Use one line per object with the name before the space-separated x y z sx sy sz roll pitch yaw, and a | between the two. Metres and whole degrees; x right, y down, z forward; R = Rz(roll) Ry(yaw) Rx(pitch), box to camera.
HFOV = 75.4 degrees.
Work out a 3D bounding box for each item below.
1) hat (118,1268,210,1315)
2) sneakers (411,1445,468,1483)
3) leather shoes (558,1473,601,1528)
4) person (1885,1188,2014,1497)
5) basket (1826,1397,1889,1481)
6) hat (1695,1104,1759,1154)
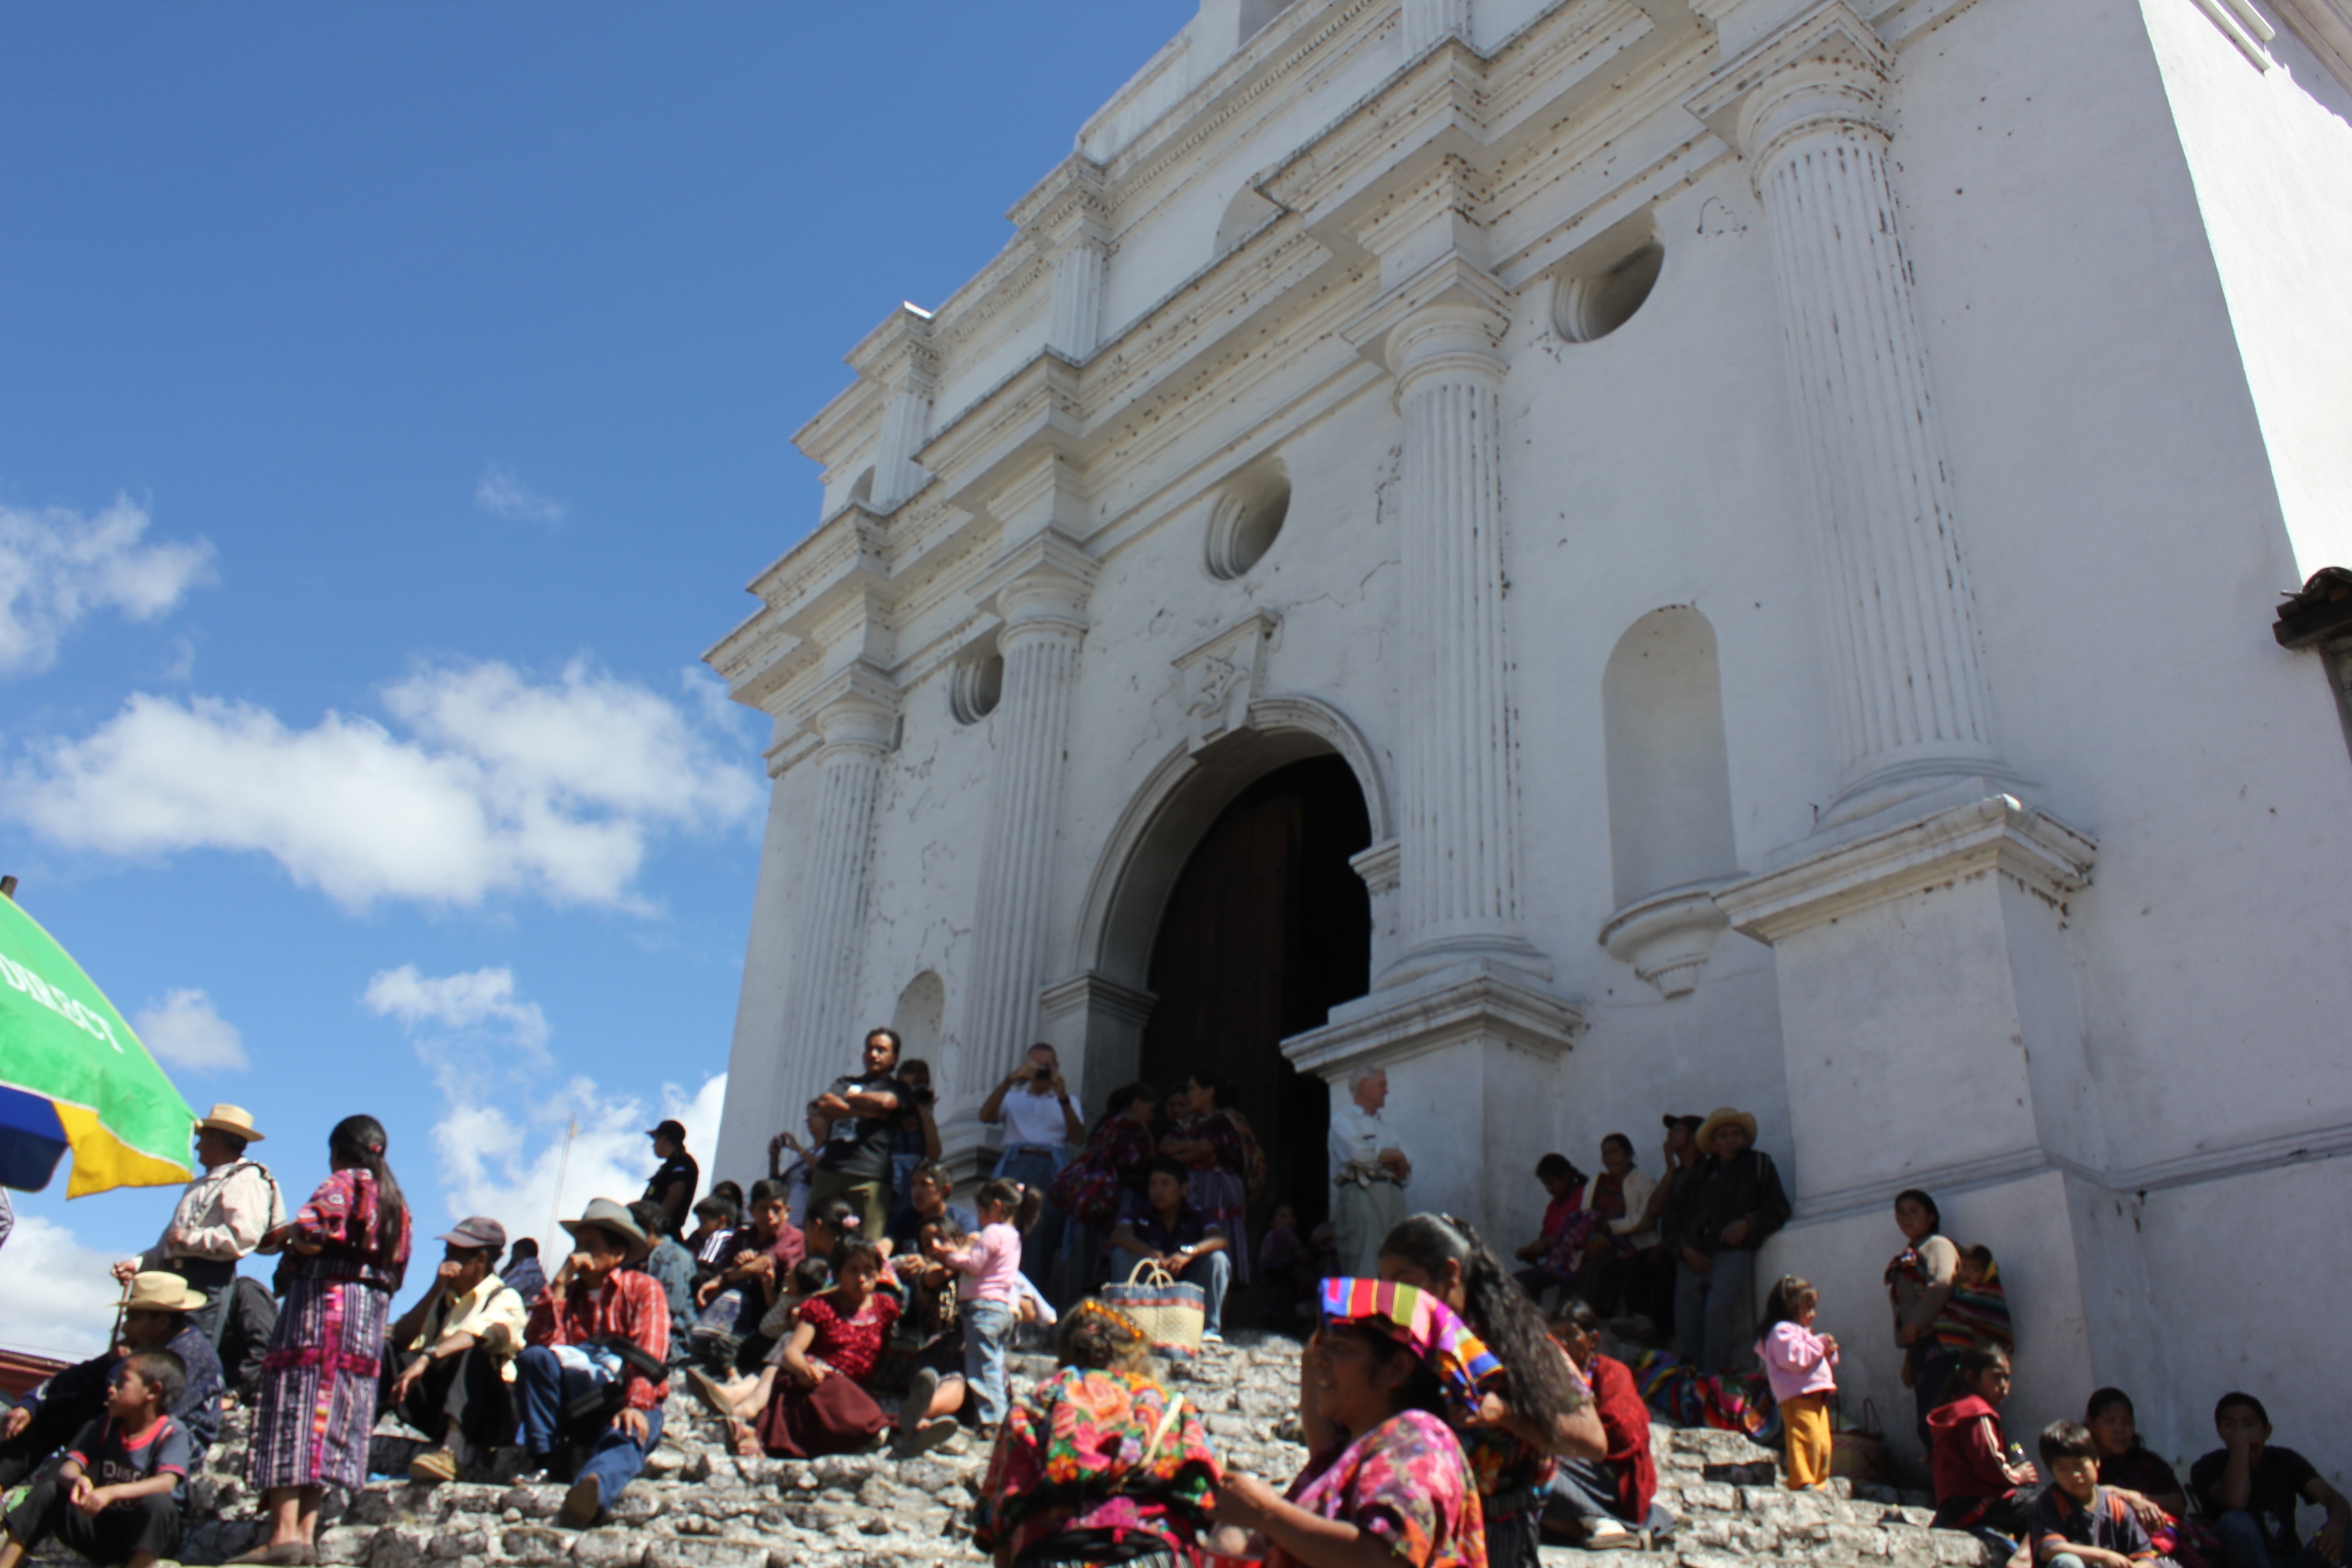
hat | -5.456 2.705 8.148 0.429 0.146 0.390 5 -8 -13
sneakers | -3.972 3.661 8.212 0.170 0.146 0.343 11 -24 -9
leather shoes | -3.004 3.628 7.677 0.116 0.310 0.129 7 -3 4
person | 4.660 3.322 9.190 0.661 1.655 0.509 1 -27 20
basket | 4.176 4.003 9.298 0.333 0.346 0.419 -1 -4 32
hat | 3.809 2.416 10.664 0.326 0.318 0.085 5 11 -13
